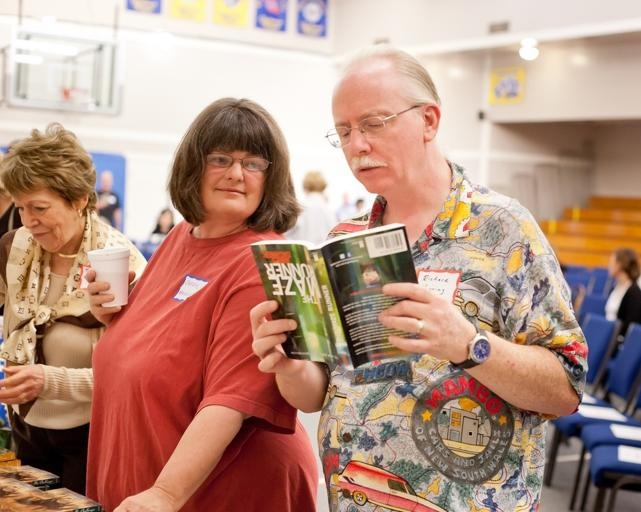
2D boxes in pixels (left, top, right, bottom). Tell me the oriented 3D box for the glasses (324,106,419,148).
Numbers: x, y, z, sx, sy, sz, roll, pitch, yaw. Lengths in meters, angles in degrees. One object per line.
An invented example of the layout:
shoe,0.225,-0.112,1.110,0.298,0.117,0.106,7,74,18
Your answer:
glasses,0.098,-0.285,1.315,0.124,0.034,0.117,-29,10,-33

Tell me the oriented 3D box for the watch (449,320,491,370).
watch,0.287,0.176,1.193,0.088,0.058,0.084,-53,18,-25

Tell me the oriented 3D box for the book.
book,0.035,0.090,1.225,0.391,0.269,0.042,-5,21,39
